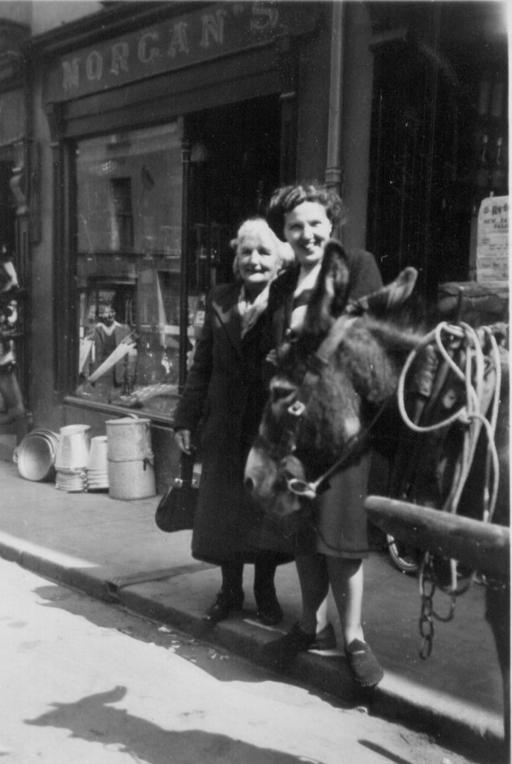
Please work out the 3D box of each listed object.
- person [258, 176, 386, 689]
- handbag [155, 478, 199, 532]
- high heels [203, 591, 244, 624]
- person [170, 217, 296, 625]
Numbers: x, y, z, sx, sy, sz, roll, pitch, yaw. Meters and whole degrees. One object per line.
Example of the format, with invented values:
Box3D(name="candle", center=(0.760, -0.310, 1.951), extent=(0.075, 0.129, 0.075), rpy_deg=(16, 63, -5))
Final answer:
Box3D(name="person", center=(0.239, 0.140, 3.288), extent=(0.335, 1.314, 0.963), rpy_deg=(1, 1, 6))
Box3D(name="handbag", center=(-0.302, 0.483, 3.965), extent=(0.159, 0.207, 0.224), rpy_deg=(-1, 15, -5))
Box3D(name="high heels", center=(-0.123, 0.881, 3.836), extent=(0.067, 0.106, 0.197), rpy_deg=(-11, -9, 37))
Box3D(name="person", center=(-0.045, 0.167, 3.750), extent=(0.413, 1.499, 0.434), rpy_deg=(5, 8, 21))
